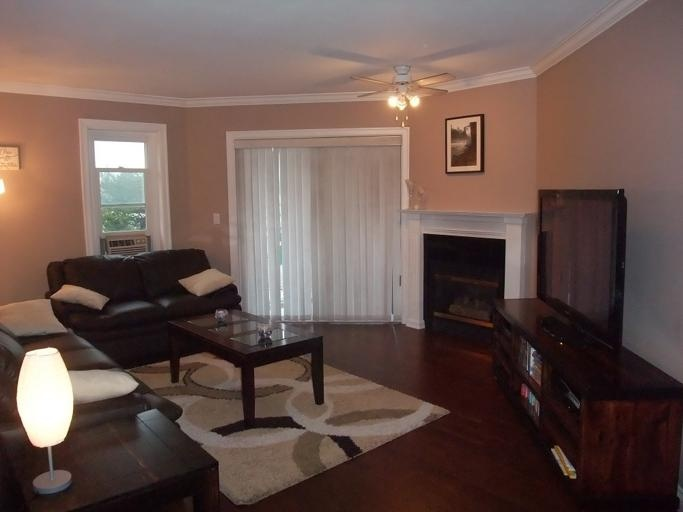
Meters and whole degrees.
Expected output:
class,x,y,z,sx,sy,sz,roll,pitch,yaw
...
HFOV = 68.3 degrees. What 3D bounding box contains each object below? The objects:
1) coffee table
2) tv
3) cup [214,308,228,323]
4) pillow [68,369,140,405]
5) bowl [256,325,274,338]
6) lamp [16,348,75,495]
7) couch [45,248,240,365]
class,x,y,z,sx,sy,sz,roll,pitch,yaw
coffee table,-0.656,1.020,4.007,0.698,0.534,1.212,-3,6,-43
tv,1.675,-0.167,3.540,0.069,0.594,0.688,-14,13,-24
cup,-1.060,0.525,4.413,0.104,0.081,0.109,1,-3,0
pillow,-1.383,0.743,2.914,0.322,0.177,0.108,0,-39,-38
bowl,-0.590,0.588,3.914,0.094,0.063,0.095,2,0,0
lamp,-1.327,0.728,2.274,0.208,0.573,0.327,-9,15,-34
couch,-2.030,0.481,5.299,1.659,0.994,0.929,-7,9,-43
